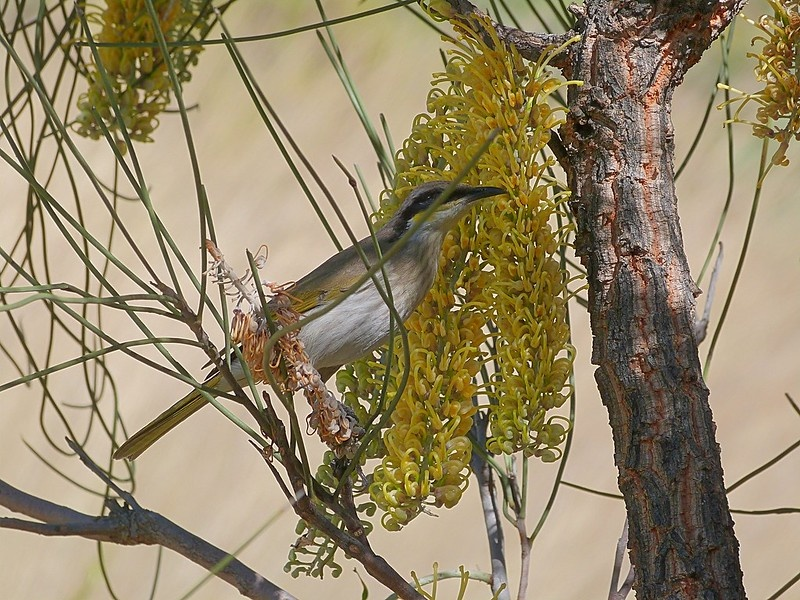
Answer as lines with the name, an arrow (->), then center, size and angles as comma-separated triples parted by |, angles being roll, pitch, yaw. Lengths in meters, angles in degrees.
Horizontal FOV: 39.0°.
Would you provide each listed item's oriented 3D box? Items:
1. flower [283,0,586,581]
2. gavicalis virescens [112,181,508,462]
flower -> 0.196, -0.067, 2.639 | 0.558, 0.953, 0.907 | 15, -56, -1
gavicalis virescens -> -0.267, 0.075, 3.191 | 1.079, 0.771, 0.295 | -7, -28, 13
